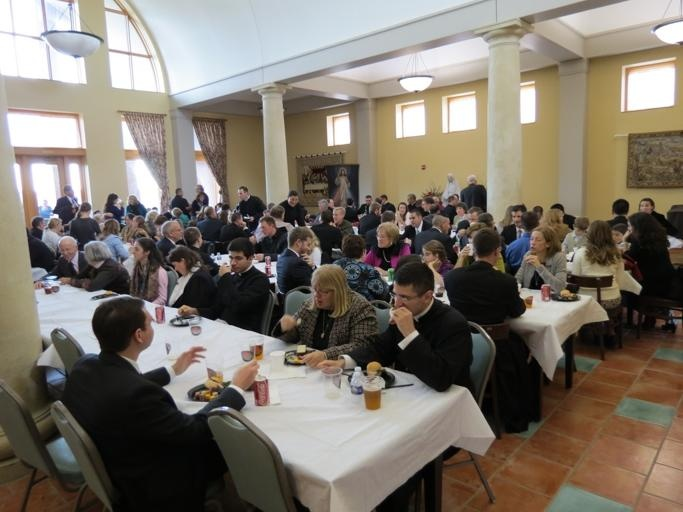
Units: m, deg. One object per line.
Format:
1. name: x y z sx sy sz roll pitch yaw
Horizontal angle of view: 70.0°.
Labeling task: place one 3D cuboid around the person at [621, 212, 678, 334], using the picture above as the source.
1. person: 3.185 -0.006 4.951 0.474 0.865 0.199 3 12 21

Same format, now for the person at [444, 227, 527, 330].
1. person: 1.109 0.350 3.710 0.538 1.077 0.531 4 9 31

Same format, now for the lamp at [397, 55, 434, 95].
1. lamp: 1.408 -3.657 9.403 0.523 0.825 0.546 -4 4 17

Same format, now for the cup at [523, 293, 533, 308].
1. cup: 1.484 0.368 3.931 0.084 0.143 0.137 -2 -5 5

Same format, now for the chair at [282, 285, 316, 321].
1. chair: -0.297 0.372 4.022 0.205 0.383 0.253 0 -2 2

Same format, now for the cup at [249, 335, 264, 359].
1. cup: -0.515 0.573 3.053 0.103 0.127 0.111 1 6 0

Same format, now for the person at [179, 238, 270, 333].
1. person: -0.948 0.520 4.047 0.679 1.303 0.546 1 0 -27

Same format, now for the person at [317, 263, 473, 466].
1. person: 0.344 0.821 2.892 0.798 1.514 0.631 3 3 11

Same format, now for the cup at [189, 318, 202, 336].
1. cup: -1.055 0.506 3.492 0.102 0.122 0.106 -1 8 0

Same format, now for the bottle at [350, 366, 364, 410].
1. bottle: 0.075 0.679 2.627 0.087 0.149 0.083 4 2 0

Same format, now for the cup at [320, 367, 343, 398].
1. cup: -0.048 0.669 2.630 0.127 0.138 0.130 0 4 0

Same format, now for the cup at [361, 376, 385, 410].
1. cup: 0.159 0.693 2.444 0.143 0.166 0.127 0 9 0
